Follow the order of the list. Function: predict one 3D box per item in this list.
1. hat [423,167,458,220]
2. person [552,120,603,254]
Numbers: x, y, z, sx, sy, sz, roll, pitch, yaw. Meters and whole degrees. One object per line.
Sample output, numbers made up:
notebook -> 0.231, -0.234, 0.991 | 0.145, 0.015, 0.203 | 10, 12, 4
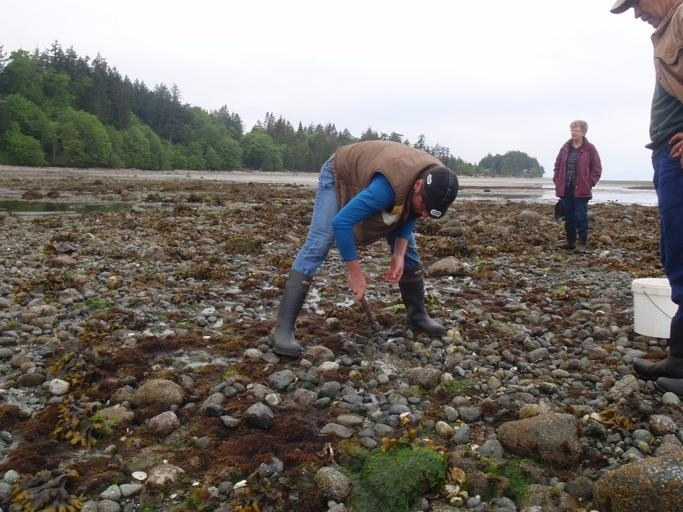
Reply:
hat -> 0.949, -0.631, 4.638 | 0.345, 0.484, 0.252 | 7, -11, -33
person -> 4.999, -1.470, 9.954 | 0.875, 2.748, 0.739 | 7, 13, 24
